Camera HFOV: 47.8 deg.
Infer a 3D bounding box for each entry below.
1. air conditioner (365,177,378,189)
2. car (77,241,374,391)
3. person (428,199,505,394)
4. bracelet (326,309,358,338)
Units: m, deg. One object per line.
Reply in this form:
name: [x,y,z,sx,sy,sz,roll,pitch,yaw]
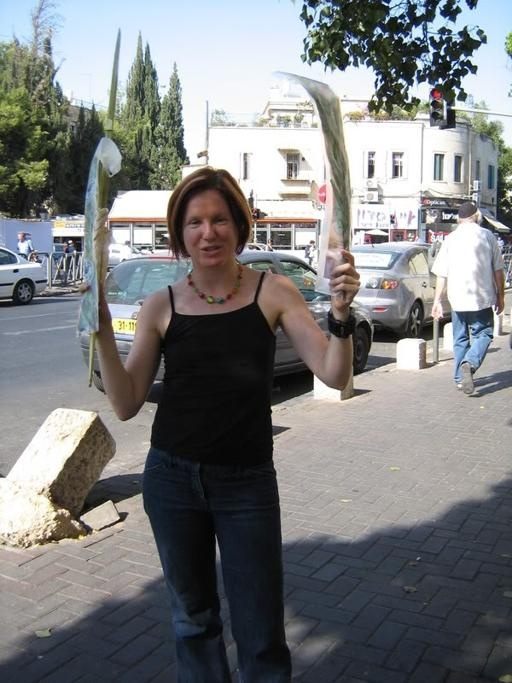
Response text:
air conditioner: [9.345,-12.562,46.239,1.038,0.839,0.486,-2,5,-7]
car: [-0.201,-0.352,8.134,2.176,1.629,3.823,2,8,40]
person: [2.580,-0.509,7.043,0.820,2.382,0.783,1,6,21]
bracelet: [0.208,-0.043,1.399,0.069,0.073,0.049,2,-4,15]
